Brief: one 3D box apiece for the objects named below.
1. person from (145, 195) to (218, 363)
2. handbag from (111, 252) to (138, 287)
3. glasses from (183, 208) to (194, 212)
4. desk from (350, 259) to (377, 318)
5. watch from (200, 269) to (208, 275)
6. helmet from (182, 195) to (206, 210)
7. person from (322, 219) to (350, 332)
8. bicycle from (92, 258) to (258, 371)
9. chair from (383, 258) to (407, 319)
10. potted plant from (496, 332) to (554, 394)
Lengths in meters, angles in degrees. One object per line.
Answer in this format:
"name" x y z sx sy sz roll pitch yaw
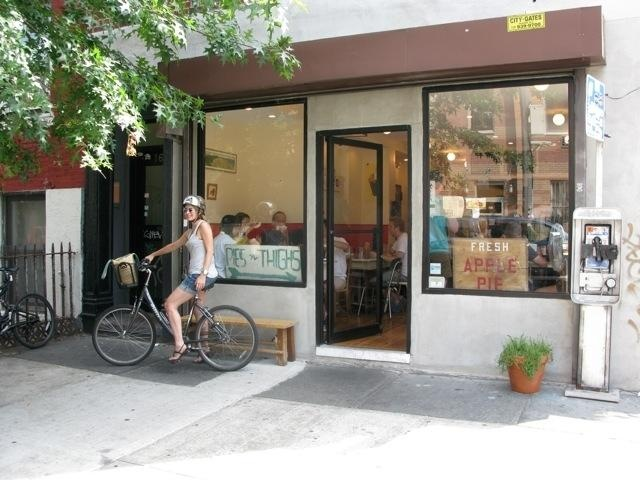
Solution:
"person" -1.792 0.482 7.161 0.787 2.120 1.103 -2 6 -18
"handbag" -2.554 0.396 7.275 0.312 0.453 0.421 -16 7 -20
"glasses" -1.723 -0.392 7.041 0.092 0.044 0.107 -11 -22 27
"desk" 0.525 0.637 8.288 0.516 0.873 0.721 0 2 -2
"watch" -1.443 0.401 6.707 0.075 0.087 0.054 4 -4 7
"helmet" -1.621 -0.485 6.966 0.180 0.132 0.260 -1 -15 33
"person" 0.213 0.417 7.623 0.277 1.416 0.731 1 6 15
"bicycle" -1.843 1.158 7.605 2.359 1.599 1.138 5 -4 4
"chair" 1.130 0.799 9.388 0.566 0.892 0.529 -2 2 24
"potted plant" 2.310 1.393 6.079 0.555 0.591 0.621 -4 -6 39
